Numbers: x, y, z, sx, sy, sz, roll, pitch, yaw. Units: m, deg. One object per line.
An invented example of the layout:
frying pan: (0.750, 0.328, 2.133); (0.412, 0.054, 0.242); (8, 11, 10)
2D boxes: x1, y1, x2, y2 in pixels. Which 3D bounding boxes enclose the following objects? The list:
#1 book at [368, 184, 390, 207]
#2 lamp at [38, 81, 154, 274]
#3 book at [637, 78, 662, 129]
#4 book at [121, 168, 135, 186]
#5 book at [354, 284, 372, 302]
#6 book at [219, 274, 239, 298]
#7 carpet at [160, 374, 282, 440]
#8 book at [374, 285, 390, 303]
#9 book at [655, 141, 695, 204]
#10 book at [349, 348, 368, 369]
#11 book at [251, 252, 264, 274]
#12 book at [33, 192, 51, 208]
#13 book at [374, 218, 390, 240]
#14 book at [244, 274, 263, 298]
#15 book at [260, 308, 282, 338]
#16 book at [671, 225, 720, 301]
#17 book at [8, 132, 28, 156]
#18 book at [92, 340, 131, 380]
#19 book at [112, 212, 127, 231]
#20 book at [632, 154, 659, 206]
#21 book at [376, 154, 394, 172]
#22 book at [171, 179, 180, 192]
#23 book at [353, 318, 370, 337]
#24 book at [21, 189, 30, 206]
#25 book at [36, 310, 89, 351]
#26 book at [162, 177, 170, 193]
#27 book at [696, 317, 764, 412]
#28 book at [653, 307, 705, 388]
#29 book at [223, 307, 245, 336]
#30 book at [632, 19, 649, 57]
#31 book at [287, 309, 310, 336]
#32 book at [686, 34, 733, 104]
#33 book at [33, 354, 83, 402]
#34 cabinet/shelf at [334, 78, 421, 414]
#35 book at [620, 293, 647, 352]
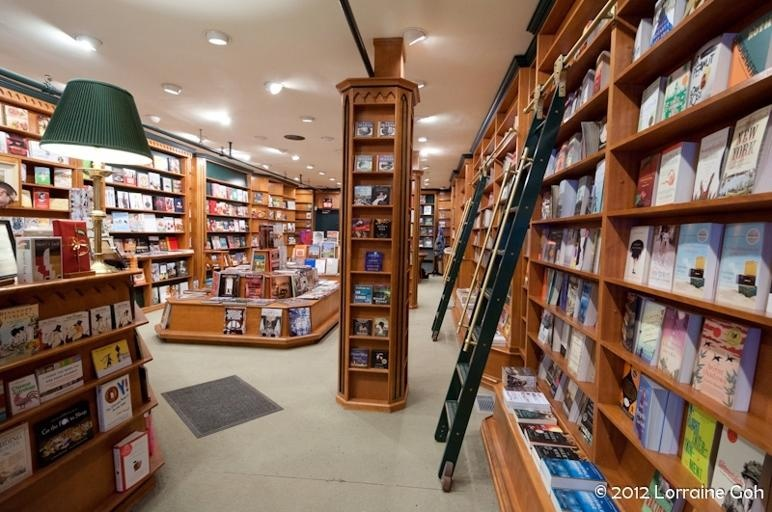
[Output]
book: (-0.042, -0.540, 4.515); (0.282, 0.263, 0.160); (2, 3, 9)
lamp: (-1.946, -0.523, 3.269); (0.629, 1.259, 0.496); (0, 5, -28)
book: (1.624, -0.938, 2.990); (0.068, 0.296, 0.195); (1, 4, -7)
book: (-3.972, -1.230, 7.448); (0.056, 0.231, 0.230); (-2, 0, 10)
book: (-0.225, 0.353, 4.530); (0.166, 0.147, 0.054); (-1, -1, 9)
book: (-2.060, 0.396, 6.340); (0.316, 0.342, 0.034); (0, -4, 4)
carpet: (-1.551, 1.380, 4.517); (0.774, 0.168, 0.966); (-2, 6, -41)
book: (-0.043, 0.361, 4.499); (0.161, 0.145, 0.088); (1, -3, 7)
book: (1.675, -0.481, 2.815); (0.204, 0.349, 0.121); (5, 6, 40)
book: (-0.238, 0.943, 4.573); (0.212, 0.199, 0.152); (3, 5, 5)
book: (-1.752, 0.069, 6.654); (0.202, 0.287, 0.432); (1, 5, -15)
book: (-4.122, -0.668, 5.764); (0.034, 0.243, 0.182); (-11, -13, 28)
book: (-0.034, -0.246, 4.455); (0.161, 0.212, 0.169); (0, -2, 6)
book: (-1.738, 0.401, 6.326); (0.305, 0.395, 0.052); (0, -5, -1)
book: (-1.411, 0.828, 5.903); (0.340, 0.394, 0.129); (4, 5, 6)
book: (1.710, 0.025, 2.666); (0.213, 0.409, 0.112); (5, 6, 40)
book: (-4.247, -1.274, 5.559); (0.058, 0.198, 0.219); (5, 2, 4)
book: (-1.911, 0.720, 3.333); (0.048, 0.211, 0.293); (-7, 7, 20)
book: (-4.035, -0.511, 7.272); (0.034, 0.231, 0.299); (-2, 2, 14)
book: (1.616, -0.461, 3.002); (0.065, 0.259, 0.259); (12, 21, 36)
book: (-0.017, -0.841, 4.401); (0.169, 0.163, 0.095); (2, 4, 4)
book: (-3.690, -1.232, 8.475); (0.181, 0.188, 0.168); (-2, 2, -6)
book: (-0.234, 0.672, 4.534); (0.168, 0.139, 0.055); (2, 3, 5)
book: (-4.190, -0.676, 5.621); (0.099, 0.202, 0.225); (-1, 5, -37)
book: (-2.095, 0.477, 3.101); (0.042, 0.190, 0.277); (-3, 6, 27)
book: (-3.751, -1.197, 8.189); (0.079, 0.236, 0.228); (-6, 9, 0)
book: (1.808, 0.576, 2.582); (0.262, 0.452, 0.120); (5, 5, 38)
book: (1.662, 0.510, 2.751); (0.198, 0.400, 0.115); (6, 6, 43)
book: (-1.874, 0.810, 5.961); (0.338, 0.452, 0.221); (0, -5, -1)
book: (1.579, -1.358, 3.003); (0.086, 0.232, 0.265); (5, 22, 16)
book: (-1.110, 0.828, 6.008); (0.026, 0.346, 0.354); (-3, -2, 43)
book: (1.785, -1.032, 2.667); (0.203, 0.350, 0.088); (6, 6, 40)
book: (-2.102, 0.773, 3.071); (0.043, 0.264, 0.319); (-3, 9, 32)
cabinet/shelf: (-0.133, -0.093, 4.485); (0.721, 3.009, 0.337); (2, 4, 3)
book: (1.540, 0.415, 3.048); (0.068, 0.272, 0.277); (2, 1, 15)
